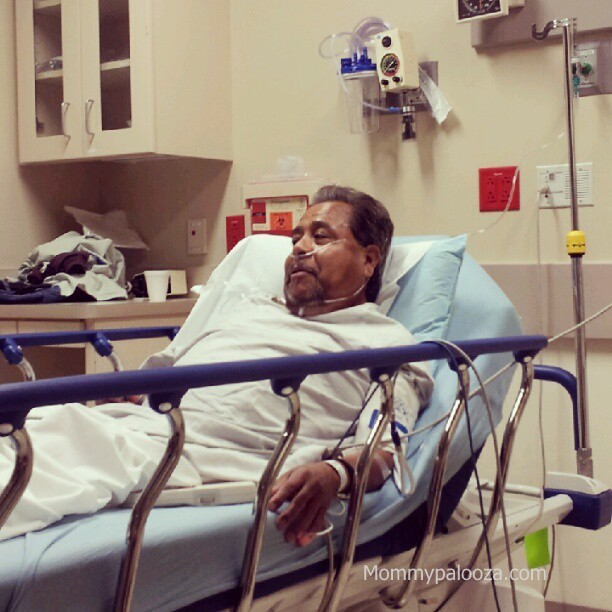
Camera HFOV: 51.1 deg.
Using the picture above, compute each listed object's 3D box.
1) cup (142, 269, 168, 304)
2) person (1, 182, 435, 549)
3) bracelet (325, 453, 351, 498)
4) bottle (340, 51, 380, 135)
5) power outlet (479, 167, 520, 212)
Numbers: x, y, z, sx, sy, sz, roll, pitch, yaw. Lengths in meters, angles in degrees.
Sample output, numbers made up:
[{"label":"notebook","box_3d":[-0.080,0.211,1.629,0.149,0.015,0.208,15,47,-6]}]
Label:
[{"label":"cup","box_3d":[-0.524,-0.072,2.243,0.100,0.108,0.099,0,2,0]},{"label":"person","box_3d":[-0.088,0.034,1.199,0.442,0.371,0.828,5,9,35]},{"label":"bracelet","box_3d":[0.057,0.264,0.997,0.043,0.055,0.041,-16,-28,23]},{"label":"bottle","box_3d":[0.170,-0.673,2.004,0.120,0.233,0.112,-2,6,0]},{"label":"power outlet","box_3d":[0.587,-0.353,1.923,0.144,0.154,0.016,1,1,29]}]
